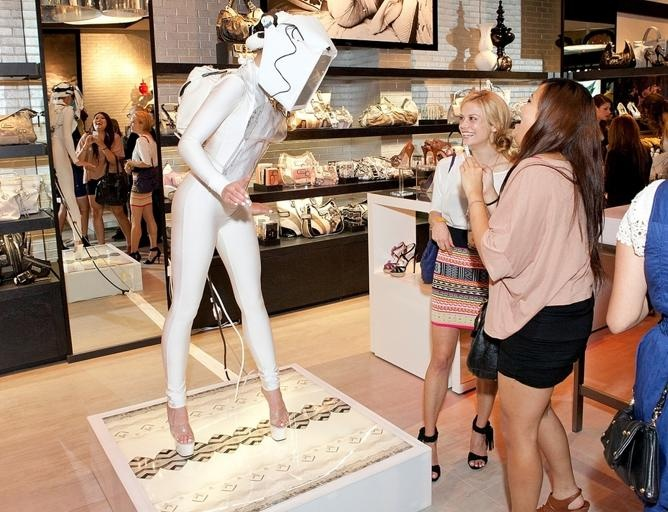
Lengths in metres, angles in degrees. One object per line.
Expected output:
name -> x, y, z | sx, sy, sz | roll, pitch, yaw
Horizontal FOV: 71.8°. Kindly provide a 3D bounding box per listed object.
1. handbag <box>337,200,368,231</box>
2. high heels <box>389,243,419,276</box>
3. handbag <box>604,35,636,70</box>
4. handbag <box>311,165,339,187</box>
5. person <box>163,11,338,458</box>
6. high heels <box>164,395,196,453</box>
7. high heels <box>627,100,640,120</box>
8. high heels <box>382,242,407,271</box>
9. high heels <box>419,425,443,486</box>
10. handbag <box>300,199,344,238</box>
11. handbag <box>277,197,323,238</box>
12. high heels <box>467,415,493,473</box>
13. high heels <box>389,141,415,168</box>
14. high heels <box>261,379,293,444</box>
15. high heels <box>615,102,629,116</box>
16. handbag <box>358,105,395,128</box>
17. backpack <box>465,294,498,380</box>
handbag -> 0.196, -0.437, 5.006 | 0.290, 0.257, 0.298 | 5, 9, 43
high heels -> 0.536, -0.009, 3.455 | 0.109, 0.142, 0.329 | 2, 15, 28
handbag -> 1.876, -1.331, 3.049 | 0.198, 0.186, 0.381 | 8, 18, 31
handbag -> -0.089, -0.835, 4.744 | 0.235, 0.229, 0.176 | -2, -5, -23
person -> -0.345, -0.055, 1.973 | 0.702, 1.801, 0.683 | 10, 12, 31
high heels -> -0.664, 0.740, 2.036 | 0.082, 0.274, 0.111 | -13, 11, -25
high heels -> 2.043, -0.999, 3.154 | 0.049, 0.133, 0.052 | -35, -24, 26
high heels -> 0.466, 0.007, 3.429 | 0.105, 0.277, 0.075 | 32, 9, 38
high heels -> 0.473, 0.966, 2.290 | 0.090, 0.119, 0.299 | -6, 25, -9
handbag -> -0.145, -0.401, 4.852 | 0.452, 0.370, 0.161 | -12, 7, -36
handbag -> -0.361, -0.396, 4.703 | 0.332, 0.464, 0.179 | -8, 2, -12
high heels -> 0.758, 0.976, 2.428 | 0.099, 0.121, 0.305 | -1, 3, 14
high heels -> 0.585, -0.861, 3.902 | 0.147, 0.217, 0.481 | -7, 17, -9
high heels -> -0.258, 0.715, 2.172 | 0.095, 0.297, 0.121 | -13, 16, -28
high heels -> 2.010, -1.036, 3.229 | 0.039, 0.129, 0.050 | -21, -14, 19
handbag -> 0.443, -1.479, 4.859 | 0.286, 0.227, 0.096 | -3, -12, 0
backpack -> 0.652, 0.328, 1.949 | 0.153, 0.377, 0.148 | 6, -12, 10
